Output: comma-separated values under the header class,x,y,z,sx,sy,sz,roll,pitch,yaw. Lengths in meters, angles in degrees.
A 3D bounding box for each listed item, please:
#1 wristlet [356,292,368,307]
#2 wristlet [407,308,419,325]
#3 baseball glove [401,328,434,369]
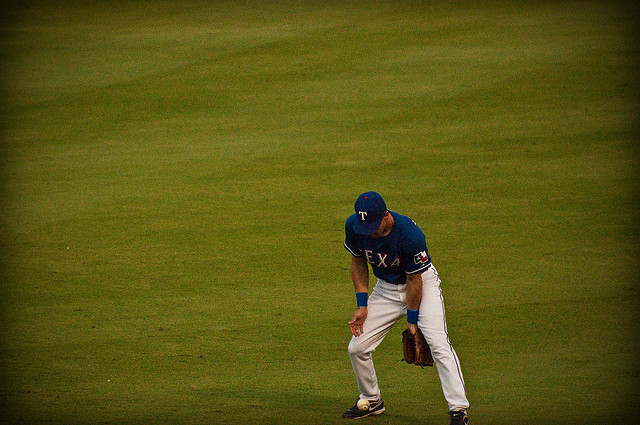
class,x,y,z,sx,sy,sz,roll,pitch,yaw
wristlet,0.709,1.432,25.008,0.230,0.221,0.216,-4,87,-24
wristlet,1.517,1.688,24.797,0.265,0.231,0.225,-2,85,22
baseball glove,1.620,2.225,24.977,0.629,0.188,0.555,1,100,29
